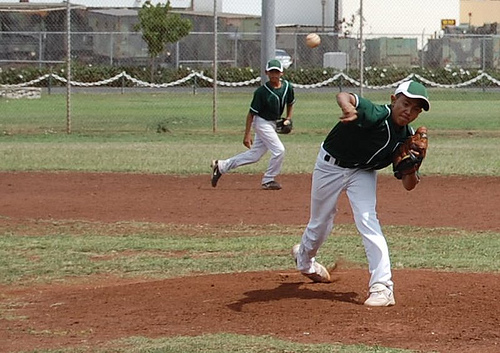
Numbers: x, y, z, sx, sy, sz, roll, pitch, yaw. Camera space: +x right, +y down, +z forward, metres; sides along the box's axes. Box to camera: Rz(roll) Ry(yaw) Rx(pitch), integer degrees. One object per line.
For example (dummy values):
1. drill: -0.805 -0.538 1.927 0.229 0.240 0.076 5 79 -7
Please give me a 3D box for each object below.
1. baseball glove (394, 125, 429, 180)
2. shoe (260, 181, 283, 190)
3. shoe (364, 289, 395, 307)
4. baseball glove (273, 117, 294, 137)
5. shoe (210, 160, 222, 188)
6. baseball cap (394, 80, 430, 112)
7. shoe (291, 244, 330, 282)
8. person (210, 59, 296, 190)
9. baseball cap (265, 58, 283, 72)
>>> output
1. baseball glove: 1.764 -0.257 8.143 0.337 0.558 0.203 41 9 -5
2. shoe: 0.371 0.151 12.689 0.369 0.156 0.130 -1 11 -2
3. shoe: 1.413 1.308 8.101 0.306 0.162 0.149 1 6 -4
4. baseball glove: 0.574 -0.890 12.751 0.304 0.177 0.389 3 38 -1
5. shoe: -0.562 -0.050 12.574 0.194 0.416 0.148 3 5 10
6. baseball cap: 1.720 -0.848 7.912 0.366 0.303 0.284 3 9 9
7. shoe: 0.751 0.962 8.832 0.482 0.408 0.678 0 11 -7
8. person: 0.111 -0.862 12.572 1.225 2.157 0.501 1 9 0
9. baseball cap: 0.408 -1.828 12.418 0.330 0.235 0.450 4 9 2
